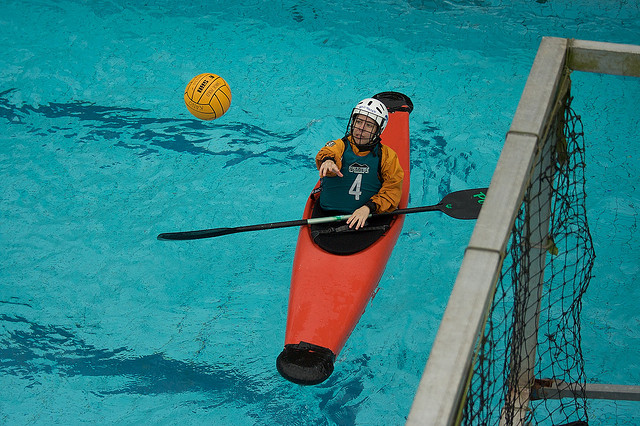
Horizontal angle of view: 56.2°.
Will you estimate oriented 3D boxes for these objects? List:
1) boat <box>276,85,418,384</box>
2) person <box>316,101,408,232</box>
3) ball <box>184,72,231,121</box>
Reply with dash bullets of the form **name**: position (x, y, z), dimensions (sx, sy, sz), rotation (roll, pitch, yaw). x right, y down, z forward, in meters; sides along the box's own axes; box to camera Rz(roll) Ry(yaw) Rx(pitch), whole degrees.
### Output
- **boat**: position (0.220, 0.327, 5.234), dimensions (0.953, 2.957, 0.755), rotation (14, -22, 14)
- **person**: position (0.382, -0.329, 5.048), dimensions (0.719, 1.114, 0.525), rotation (18, -18, 8)
- **ball**: position (-1.024, -1.103, 5.702), dimensions (0.414, 0.545, 0.468), rotation (4, 32, -1)
